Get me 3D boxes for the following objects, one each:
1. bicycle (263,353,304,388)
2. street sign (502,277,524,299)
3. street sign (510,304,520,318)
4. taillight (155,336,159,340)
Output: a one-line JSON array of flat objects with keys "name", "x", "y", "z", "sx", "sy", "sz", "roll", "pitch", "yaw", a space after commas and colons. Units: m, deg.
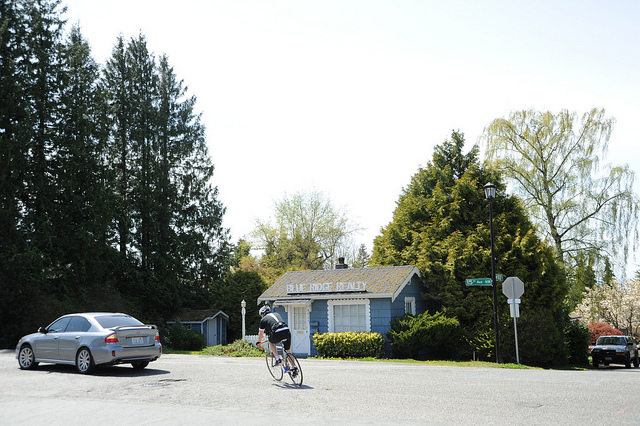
[{"name": "bicycle", "x": -1.431, "y": 6.740, "z": 25.832, "sx": 0.867, "sy": 1.403, "sz": 2.065, "roll": -13, "pitch": -21, "yaw": -39}, {"name": "street sign", "x": 11.163, "y": 4.325, "z": 35.055, "sx": 1.190, "sy": 1.569, "sz": 0.181, "roll": 0, "pitch": 0, "yaw": -4}, {"name": "street sign", "x": 11.188, "y": 5.577, "z": 34.926, "sx": 0.472, "sy": 0.830, "sz": 0.930, "roll": 2, "pitch": 2, "yaw": 23}, {"name": "taillight", "x": -7.375, "y": 5.681, "z": 27.761, "sx": 0.110, "sy": 0.265, "sz": 0.127, "roll": 0, "pitch": -9, "yaw": -1}]
